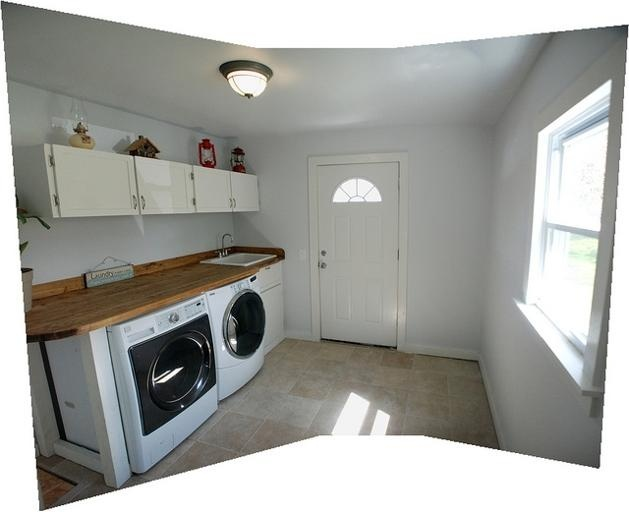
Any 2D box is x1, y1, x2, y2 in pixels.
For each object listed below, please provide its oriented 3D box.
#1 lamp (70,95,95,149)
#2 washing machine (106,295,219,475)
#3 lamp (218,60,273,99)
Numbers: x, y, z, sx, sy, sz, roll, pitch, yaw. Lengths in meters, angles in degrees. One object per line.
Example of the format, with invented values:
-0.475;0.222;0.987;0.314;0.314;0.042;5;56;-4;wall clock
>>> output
-1.308;-0.733;2.434;0.111;0.279;0.326;-8;14;-26;lamp
-0.880;0.645;2.483;0.454;0.812;0.584;10;20;41;washing machine
-0.342;-0.867;2.235;0.259;0.140;0.264;0;-1;2;lamp
